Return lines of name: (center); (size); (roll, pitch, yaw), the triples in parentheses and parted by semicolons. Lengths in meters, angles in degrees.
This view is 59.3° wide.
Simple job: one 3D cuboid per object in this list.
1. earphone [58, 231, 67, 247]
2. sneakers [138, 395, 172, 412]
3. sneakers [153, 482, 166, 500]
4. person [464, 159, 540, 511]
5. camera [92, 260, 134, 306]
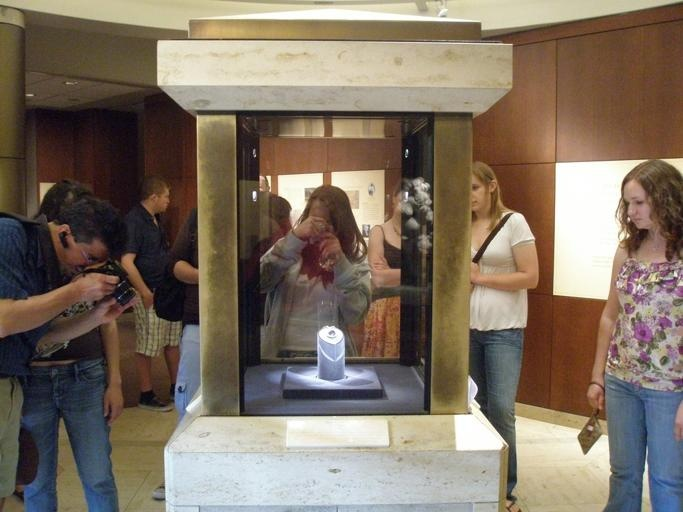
earphone: (-1.264, -0.077, 2.713); (0.026, 0.060, 0.034); (-9, 0, 8)
sneakers: (-1.623, 1.249, 5.161); (0.321, 0.144, 0.119); (4, 1, 8)
sneakers: (-1.135, 1.469, 3.732); (0.060, 0.055, 0.143); (3, -10, -4)
person: (0.938, 0.470, 3.597); (0.417, 2.075, 0.417); (3, 5, 28)
camera: (-1.005, 0.112, 2.634); (0.199, 0.199, 0.091); (1, 8, 2)
